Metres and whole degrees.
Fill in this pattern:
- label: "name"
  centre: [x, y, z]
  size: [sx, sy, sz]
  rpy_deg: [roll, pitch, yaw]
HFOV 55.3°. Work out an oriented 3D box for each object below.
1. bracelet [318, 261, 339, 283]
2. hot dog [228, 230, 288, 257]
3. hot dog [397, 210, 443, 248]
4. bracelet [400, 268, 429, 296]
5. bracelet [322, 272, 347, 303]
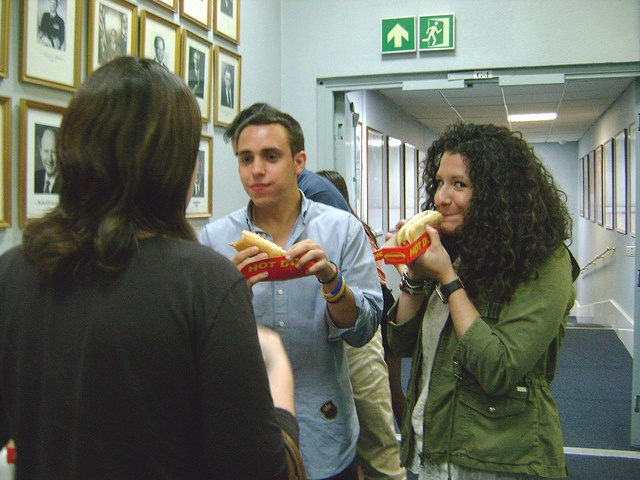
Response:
- label: "bracelet"
  centre: [0.038, 0.124, 2.099]
  size: [0.020, 0.073, 0.076]
  rpy_deg: [29, 9, -41]
- label: "hot dog"
  centre: [-0.192, 0.023, 1.980]
  size: [0.111, 0.041, 0.111]
  rpy_deg: [28, 1, -19]
- label: "hot dog"
  centre: [0.336, -0.049, 2.113]
  size: [0.179, 0.060, 0.086]
  rpy_deg: [-45, 8, -34]
- label: "bracelet"
  centre: [0.346, 0.155, 2.295]
  size: [0.077, 0.071, 0.100]
  rpy_deg: [15, 7, 13]
- label: "bracelet"
  centre: [0.048, 0.154, 2.112]
  size: [0.045, 0.083, 0.097]
  rpy_deg: [25, 38, -6]
